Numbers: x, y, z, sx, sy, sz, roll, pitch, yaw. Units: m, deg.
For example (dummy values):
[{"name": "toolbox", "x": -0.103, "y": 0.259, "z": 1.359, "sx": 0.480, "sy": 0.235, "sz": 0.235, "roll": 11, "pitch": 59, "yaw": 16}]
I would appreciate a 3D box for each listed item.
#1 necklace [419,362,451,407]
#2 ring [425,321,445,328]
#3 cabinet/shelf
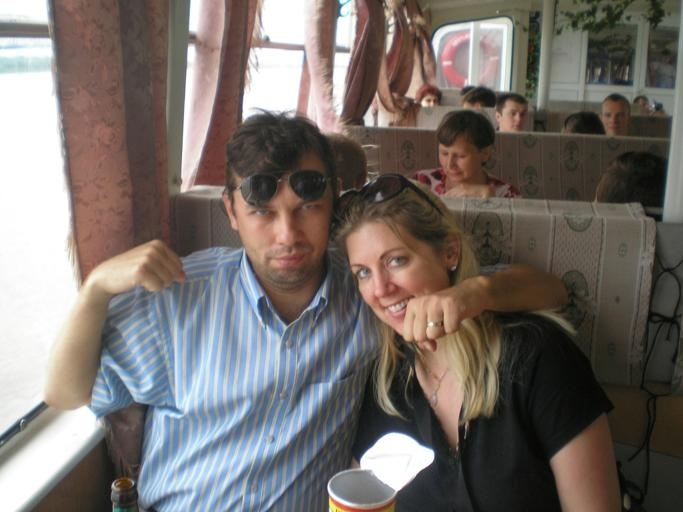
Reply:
[{"name": "necklace", "x": 0.299, "y": 0.410, "z": 1.912, "sx": 0.097, "sy": 0.105, "sz": 0.032, "roll": -11, "pitch": -33, "yaw": 30}, {"name": "ring", "x": 0.265, "y": 0.191, "z": 1.685, "sx": 0.042, "sy": 0.021, "sz": 0.012, "roll": 2, "pitch": 12, "yaw": 2}, {"name": "cabinet/shelf", "x": 5.142, "y": -3.560, "z": 10.646, "sx": 1.488, "sy": 1.089, "sz": 0.661, "roll": 7, "pitch": 13, "yaw": 21}]
